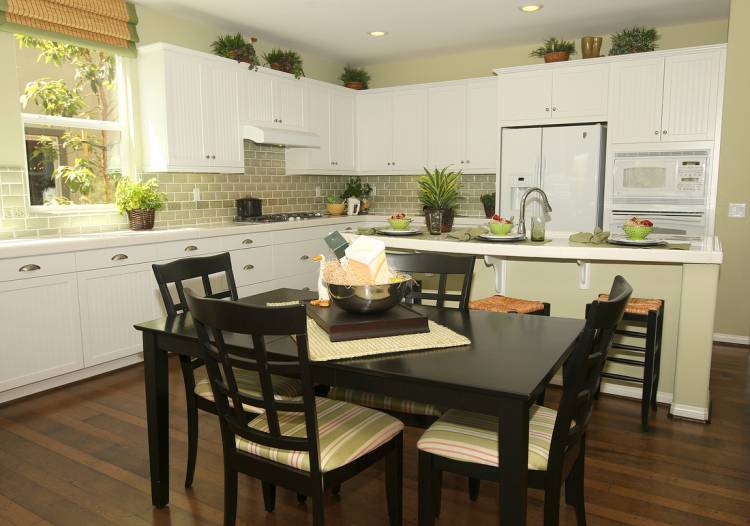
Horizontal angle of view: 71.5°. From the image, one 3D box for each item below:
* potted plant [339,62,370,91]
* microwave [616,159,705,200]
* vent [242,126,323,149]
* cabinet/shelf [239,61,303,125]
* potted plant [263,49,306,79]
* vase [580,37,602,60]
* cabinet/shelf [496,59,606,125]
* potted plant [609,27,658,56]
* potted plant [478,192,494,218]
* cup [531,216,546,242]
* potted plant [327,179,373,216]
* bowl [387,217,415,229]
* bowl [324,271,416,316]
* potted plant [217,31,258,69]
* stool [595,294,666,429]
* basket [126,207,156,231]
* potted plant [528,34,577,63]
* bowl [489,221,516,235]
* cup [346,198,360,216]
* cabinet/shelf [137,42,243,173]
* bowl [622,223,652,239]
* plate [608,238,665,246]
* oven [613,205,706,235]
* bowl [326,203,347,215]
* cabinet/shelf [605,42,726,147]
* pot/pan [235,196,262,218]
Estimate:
[{"bbox_3d":[-0.275,-2.464,7.095,0.422,0.256,0.397,2,2,6],"label":"potted plant"},{"bbox_3d":[2.856,-0.860,5.217,0.765,0.334,0.452,3,6,32],"label":"microwave"},{"bbox_3d":[-1.054,-1.423,5.895,0.291,0.214,1.037,4,10,26],"label":"vent"},{"bbox_3d":[-1.216,-1.806,5.892,0.349,0.657,0.999,9,12,39],"label":"cabinet/shelf"},{"bbox_3d":[-1.044,-2.271,5.916,0.425,0.177,0.418,14,14,-8],"label":"potted plant"},{"bbox_3d":[2.298,-2.275,5.508,0.193,0.258,0.207,2,11,17],"label":"vase"},{"bbox_3d":[2.007,-1.863,5.761,1.172,0.591,0.389,4,21,26],"label":"cabinet/shelf"},{"bbox_3d":[2.670,-2.251,5.353,0.415,0.220,0.387,-7,13,-7],"label":"potted plant"},{"bbox_3d":[1.385,-0.713,6.404,0.173,0.295,0.436,1,10,10],"label":"potted plant"},{"bbox_3d":[1.222,-0.249,3.885,0.094,0.171,0.094,-1,11,0],"label":"cup"},{"bbox_3d":[-0.302,-0.890,7.012,0.335,0.548,0.858,5,6,44],"label":"potted plant"},{"bbox_3d":[0.202,-0.331,4.350,0.173,0.100,0.243,-1,9,-2],"label":"bowl"},{"bbox_3d":[-0.053,0.173,2.629,0.354,0.129,0.349,-6,-13,-1],"label":"bowl"},{"bbox_3d":[-1.440,-2.217,5.454,0.496,0.250,0.442,18,26,22],"label":"potted plant"},{"bbox_3d":[1.758,0.638,3.627,0.430,0.821,0.556,4,12,28],"label":"stool"},{"bbox_3d":[-2.172,-0.412,4.841,0.237,0.156,0.222,-1,6,-9],"label":"basket"},{"bbox_3d":[1.953,-2.244,5.704,0.457,0.192,0.436,2,7,22],"label":"potted plant"},{"bbox_3d":[0.952,-0.254,3.967,0.138,0.079,0.131,0,-2,0],"label":"bowl"},{"bbox_3d":[-0.294,-0.750,6.858,0.283,0.254,0.158,3,10,14],"label":"cup"},{"bbox_3d":[-1.786,-1.485,5.160,0.927,1.146,0.343,-10,14,-39],"label":"cabinet/shelf"},{"bbox_3d":[1.875,-0.229,3.742,0.137,0.071,0.129,0,2,0],"label":"bowl"},{"bbox_3d":[1.870,-0.154,3.715,0.364,0.041,0.337,7,12,42],"label":"plate"},{"bbox_3d":[2.761,-0.416,4.942,0.485,0.279,0.312,0,1,22],"label":"oven"},{"bbox_3d":[-0.516,-0.699,6.766,0.201,0.102,0.190,0,2,0],"label":"bowl"},{"bbox_3d":[2.996,-1.703,5.317,1.067,0.949,0.403,10,38,36],"label":"cabinet/shelf"},{"bbox_3d":[-1.431,-0.617,5.837,0.284,0.217,0.248,-1,2,-6],"label":"pot/pan"}]
